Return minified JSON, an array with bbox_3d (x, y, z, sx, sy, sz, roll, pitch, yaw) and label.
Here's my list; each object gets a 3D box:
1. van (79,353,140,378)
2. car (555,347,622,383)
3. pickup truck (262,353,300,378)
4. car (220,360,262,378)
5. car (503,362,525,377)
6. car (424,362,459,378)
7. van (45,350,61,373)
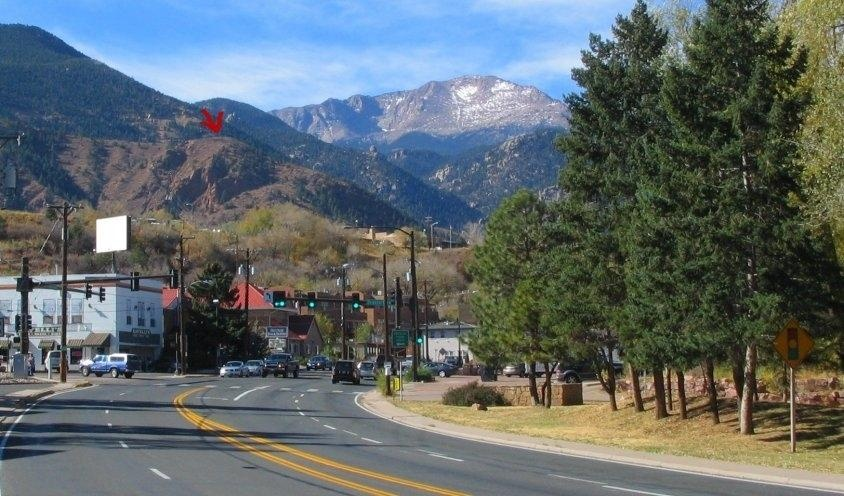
[{"bbox_3d":[-32.559,12.429,125.580,5.136,2.109,2.779,2,-4,25],"label":"van"},{"bbox_3d":[17.018,12.162,120.884,7.196,3.122,2.812,-5,-1,1],"label":"car"},{"bbox_3d":[-15.012,12.291,128.156,2.429,2.801,3.926,-11,-11,38],"label":"pickup truck"},{"bbox_3d":[-18.919,12.550,126.968,2.104,1.750,4.974,-12,-12,42],"label":"car"},{"bbox_3d":[10.329,13.578,134.884,3.132,1.722,1.697,5,-8,-4],"label":"car"},{"bbox_3d":[2.236,13.418,133.560,2.739,1.605,5.235,-5,-10,6],"label":"car"},{"bbox_3d":[-36.784,11.150,119.469,1.876,2.031,4.280,1,-2,-13],"label":"van"}]
